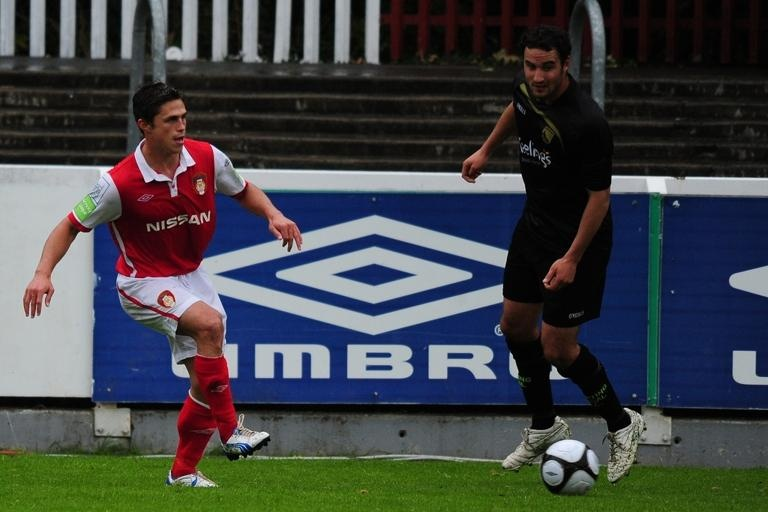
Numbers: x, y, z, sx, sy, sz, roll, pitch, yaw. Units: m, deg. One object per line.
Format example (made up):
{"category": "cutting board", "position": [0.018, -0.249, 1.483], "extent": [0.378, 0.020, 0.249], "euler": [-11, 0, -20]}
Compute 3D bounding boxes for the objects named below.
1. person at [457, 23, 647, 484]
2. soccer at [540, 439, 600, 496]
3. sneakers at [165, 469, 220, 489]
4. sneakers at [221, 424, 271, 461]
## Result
{"category": "person", "position": [1.413, 0.010, 13.521], "extent": [1.118, 3.567, 0.975], "euler": [0, -2, 18]}
{"category": "soccer", "position": [1.503, 1.637, 13.510], "extent": [0.452, 0.410, 0.426], "euler": [17, 31, 0]}
{"category": "sneakers", "position": [-1.502, 1.754, 13.454], "extent": [0.420, 0.144, 0.143], "euler": [0, 1, -2]}
{"category": "sneakers", "position": [-1.076, 1.446, 13.373], "extent": [0.221, 0.256, 0.558], "euler": [-4, -13, -38]}
